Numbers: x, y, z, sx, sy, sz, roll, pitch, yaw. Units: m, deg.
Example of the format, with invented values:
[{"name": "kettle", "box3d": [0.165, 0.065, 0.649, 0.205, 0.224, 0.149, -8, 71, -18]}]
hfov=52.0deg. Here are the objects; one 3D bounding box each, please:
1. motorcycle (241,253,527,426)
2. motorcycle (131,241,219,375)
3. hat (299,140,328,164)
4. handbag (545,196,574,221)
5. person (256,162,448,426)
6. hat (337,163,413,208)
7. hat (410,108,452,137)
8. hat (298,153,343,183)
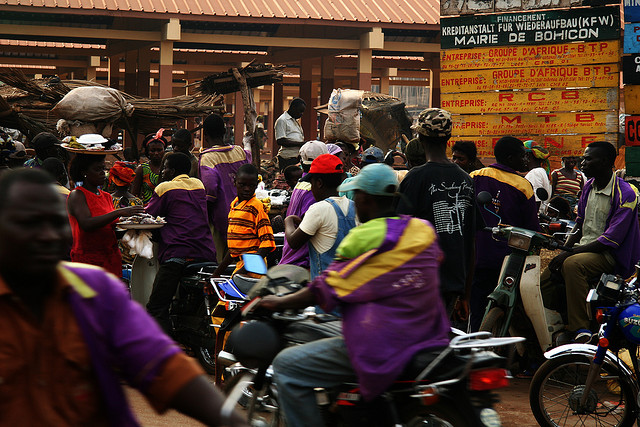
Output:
[{"name": "motorcycle", "box3d": [0.345, 0.822, 4.297, 1.708, 1.002, 0.902, 5, -3, 27]}, {"name": "motorcycle", "box3d": [-1.462, 0.995, 6.981, 1.237, 1.248, 0.365, 6, 8, 34]}, {"name": "hat", "box3d": [-0.048, -0.585, 6.229, 0.174, 0.140, 0.266, 5, 21, 24]}, {"name": "handbag", "box3d": [2.811, -0.048, 7.759, 0.253, 0.349, 0.357, -6, -17, 42]}, {"name": "person", "box3d": [0.242, 0.535, 3.909, 1.023, 1.629, 0.463, 1, 6, -5]}, {"name": "hat", "box3d": [0.340, -0.210, 4.070, 0.260, 0.215, 0.395, -11, 8, -28]}, {"name": "hat", "box3d": [0.927, -0.741, 5.349, 0.264, 0.239, 0.311, 2, 6, 7]}, {"name": "hat", "box3d": [0.001, -0.359, 5.291, 0.366, 0.236, 0.243, 4, 7, 21]}]
